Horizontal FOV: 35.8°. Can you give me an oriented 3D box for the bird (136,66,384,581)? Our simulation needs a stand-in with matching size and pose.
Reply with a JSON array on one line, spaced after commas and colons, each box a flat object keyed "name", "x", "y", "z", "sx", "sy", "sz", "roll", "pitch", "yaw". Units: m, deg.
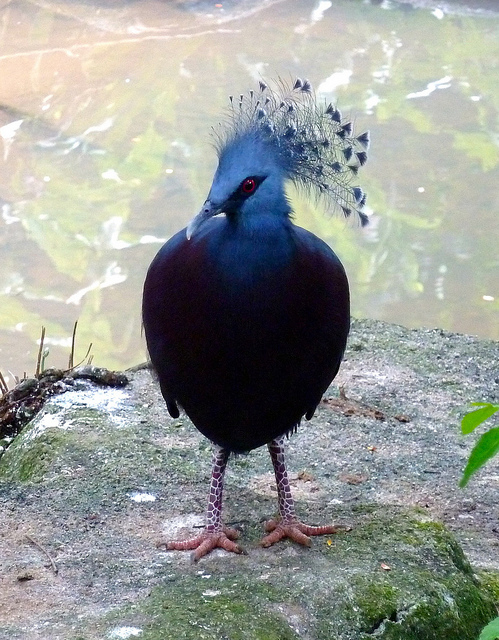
[{"name": "bird", "x": -0.002, "y": 0.013, "z": 3.409, "sx": 0.913, "sy": 2.091, "sz": 1.217, "roll": -2, "pitch": 14, "yaw": -5}]
